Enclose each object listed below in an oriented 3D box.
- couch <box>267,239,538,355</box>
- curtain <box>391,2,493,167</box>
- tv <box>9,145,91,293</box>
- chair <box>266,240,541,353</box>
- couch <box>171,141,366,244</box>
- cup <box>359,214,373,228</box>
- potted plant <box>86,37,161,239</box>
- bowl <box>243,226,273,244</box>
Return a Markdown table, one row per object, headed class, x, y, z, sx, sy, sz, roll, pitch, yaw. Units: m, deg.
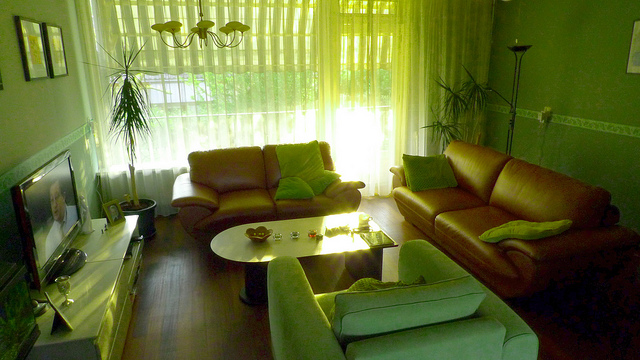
| class | x | y | z | sx | sy | sz | roll | pitch | yaw |
| --- | --- | --- | --- | --- | --- | --- | --- | --- | --- |
| couch | 0.655 | 1.176 | 3.675 | 1.524 | 0.906 | 1.344 | -3 | 21 | -9 |
| curtain | 1.937 | -1.786 | 7.267 | 1.844 | 2.730 | 0.462 | -5 | 21 | -11 |
| tv | -2.768 | 0.384 | 4.470 | 0.389 | 1.214 | 1.024 | -11 | 20 | -12 |
| chair | 0.680 | 1.199 | 3.855 | 2.292 | 0.730 | 0.816 | -6 | 19 | 0 |
| couch | -0.789 | 0.156 | 6.330 | 2.673 | 1.196 | 1.176 | -4 | 22 | -17 |
| cup | 0.564 | 0.506 | 5.316 | 0.162 | 0.104 | 0.117 | 0 | 9 | -5 |
| potted plant | -2.718 | -0.604 | 6.193 | 0.764 | 2.720 | 1.250 | -10 | 20 | -9 |
| bowl | -0.744 | 0.656 | 5.085 | 0.331 | 0.130 | 0.258 | -5 | 19 | 1 |
